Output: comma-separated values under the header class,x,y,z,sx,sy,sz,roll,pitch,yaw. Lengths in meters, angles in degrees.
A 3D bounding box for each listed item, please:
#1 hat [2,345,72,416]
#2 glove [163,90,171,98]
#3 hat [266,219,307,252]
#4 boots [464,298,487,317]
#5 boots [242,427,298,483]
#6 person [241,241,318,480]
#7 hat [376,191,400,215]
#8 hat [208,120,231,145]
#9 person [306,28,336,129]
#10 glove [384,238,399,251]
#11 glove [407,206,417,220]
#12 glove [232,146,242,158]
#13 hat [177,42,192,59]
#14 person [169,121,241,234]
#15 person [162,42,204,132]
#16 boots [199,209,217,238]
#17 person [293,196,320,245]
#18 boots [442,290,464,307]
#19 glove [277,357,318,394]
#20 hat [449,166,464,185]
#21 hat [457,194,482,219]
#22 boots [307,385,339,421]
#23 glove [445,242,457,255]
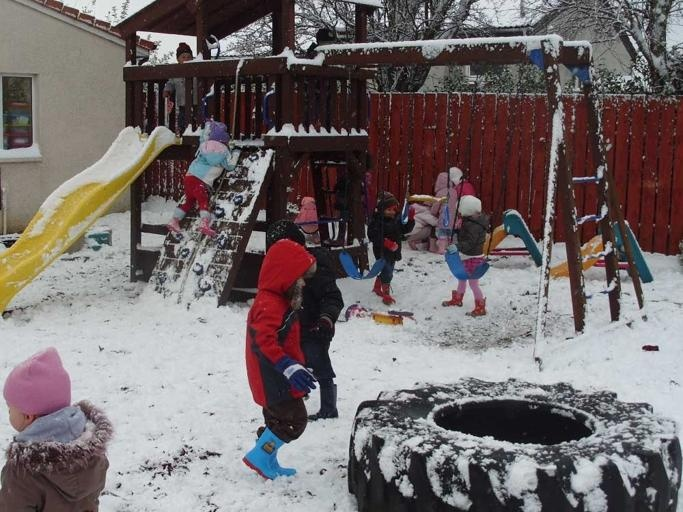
class,x,y,z,sx,sy,sz,roll,pitch,yaw
hat,-1.775,0.733,4.830,0.386,0.392,0.313,-12,-2,18
glove,-2.414,-2.214,10.922,0.101,0.113,0.066,11,21,-5
hat,-0.438,-0.171,6.247,0.257,0.278,0.210,-15,3,-9
boots,1.695,0.606,9.628,0.187,0.206,0.366,8,11,39
boots,-0.509,1.502,6.036,0.385,0.390,0.184,29,23,-17
person,-0.471,0.797,5.934,0.532,1.783,0.613,1,8,-5
hat,0.574,-0.663,9.967,0.252,0.286,0.217,2,20,8
hat,-1.541,-1.561,10.095,0.255,0.302,0.231,9,4,5
person,-0.270,-2.279,10.411,0.402,1.395,0.413,12,16,35
glove,0.644,-0.134,9.965,0.128,0.171,0.298,9,11,42
glove,1.087,-0.656,12.266,0.069,0.205,0.139,0,-2,-11
glove,-1.342,-1.313,10.086,0.098,0.145,0.139,1,16,4
hat,-2.171,-2.812,10.848,0.209,0.201,0.366,0,9,-12
person,-1.743,-0.988,9.955,0.646,1.408,0.685,5,9,27
person,-2.237,-2.256,11.120,0.528,1.339,0.405,1,29,-14
boots,-1.659,-0.394,9.674,0.148,0.376,0.342,2,-2,40
person,-0.580,-0.555,12.256,0.258,0.821,0.339,-20,18,-18
boots,1.377,0.520,9.855,0.268,0.272,0.152,8,4,9
glove,-0.336,0.889,5.766,0.226,0.302,0.080,-45,11,-30
hat,1.699,-1.196,11.796,0.186,0.199,0.245,0,-2,1
hat,1.580,-0.625,9.766,0.256,0.321,0.228,7,10,11
boots,-0.166,1.261,6.827,0.249,0.312,0.139,-3,9,-18
glove,1.266,-0.068,9.165,0.082,0.055,0.120,-29,-7,1
